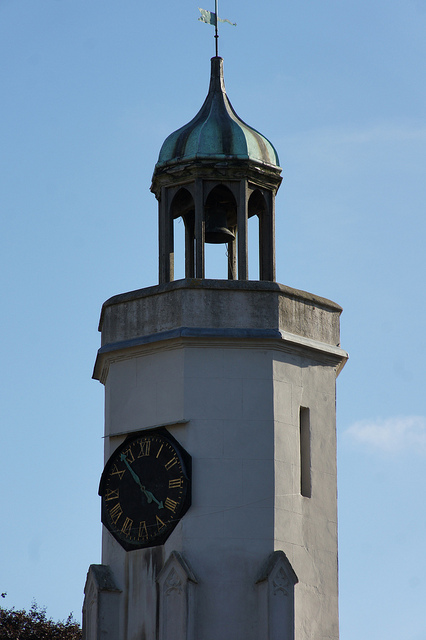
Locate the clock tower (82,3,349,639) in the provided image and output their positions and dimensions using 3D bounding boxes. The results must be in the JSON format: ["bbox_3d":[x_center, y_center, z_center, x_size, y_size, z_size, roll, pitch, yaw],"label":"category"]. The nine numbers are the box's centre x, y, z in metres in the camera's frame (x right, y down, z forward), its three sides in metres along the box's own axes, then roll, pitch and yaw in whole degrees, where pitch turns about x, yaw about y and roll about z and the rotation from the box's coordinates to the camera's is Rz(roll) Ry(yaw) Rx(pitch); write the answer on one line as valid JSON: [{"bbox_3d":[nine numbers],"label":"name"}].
[{"bbox_3d":[0.117,0.250,41.557,3.958,11.889,1.530,1,-23,-2],"label":"clock tower"}]

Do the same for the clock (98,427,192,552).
[{"bbox_3d":[-1.087,2.982,40.403,1.898,2.250,0.187,-20,-31,34],"label":"clock"}]

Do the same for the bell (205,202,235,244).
[{"bbox_3d":[0.142,-1.693,43.318,0.501,0.791,0.629,0,-27,-3],"label":"bell"}]
